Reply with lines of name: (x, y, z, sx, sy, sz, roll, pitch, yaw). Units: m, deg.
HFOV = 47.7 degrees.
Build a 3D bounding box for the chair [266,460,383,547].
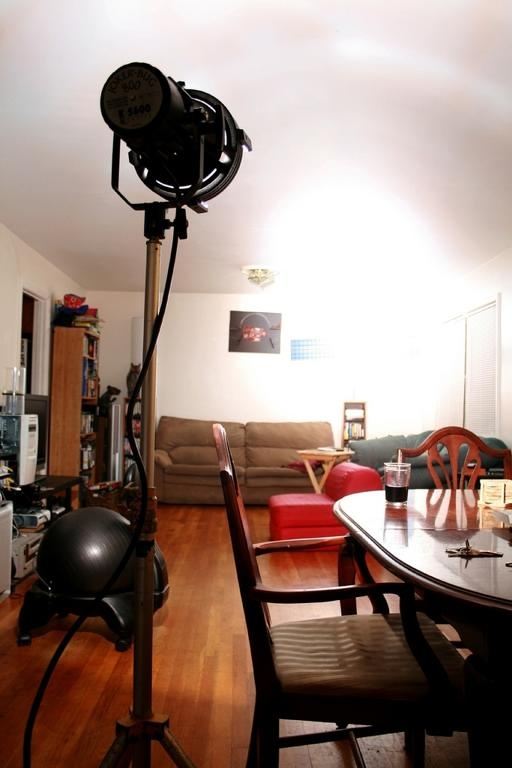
chair: (0.448, 0.854, 4.050, 0.656, 0.471, 0.704, 1, -6, 4)
